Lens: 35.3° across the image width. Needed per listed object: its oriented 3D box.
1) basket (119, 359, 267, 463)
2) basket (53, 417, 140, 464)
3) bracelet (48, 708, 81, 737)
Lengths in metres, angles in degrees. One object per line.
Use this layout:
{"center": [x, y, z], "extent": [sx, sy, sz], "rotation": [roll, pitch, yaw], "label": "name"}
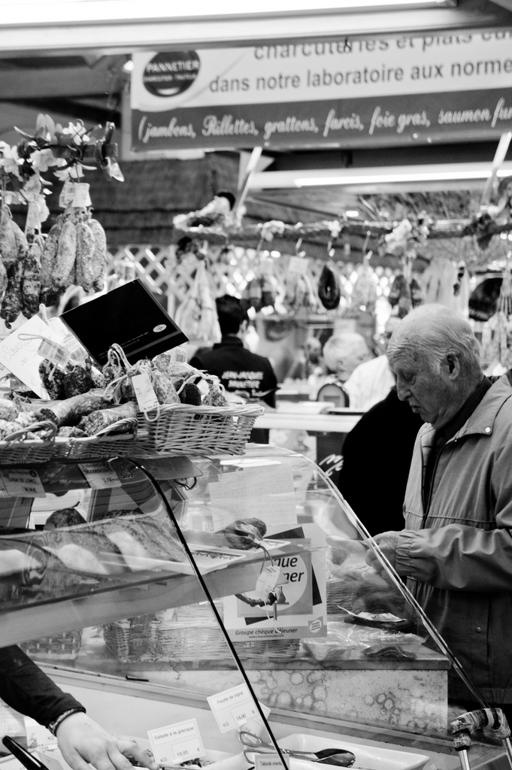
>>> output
{"center": [-0.103, 0.073, 1.363], "extent": [0.107, 0.097, 0.269], "rotation": [-1, -6, 39], "label": "basket"}
{"center": [-0.244, 0.084, 1.252], "extent": [0.119, 0.073, 0.150], "rotation": [4, -5, -9], "label": "basket"}
{"center": [-0.318, 0.551, 1.327], "extent": [0.019, 0.047, 0.046], "rotation": [41, -23, 7], "label": "bracelet"}
